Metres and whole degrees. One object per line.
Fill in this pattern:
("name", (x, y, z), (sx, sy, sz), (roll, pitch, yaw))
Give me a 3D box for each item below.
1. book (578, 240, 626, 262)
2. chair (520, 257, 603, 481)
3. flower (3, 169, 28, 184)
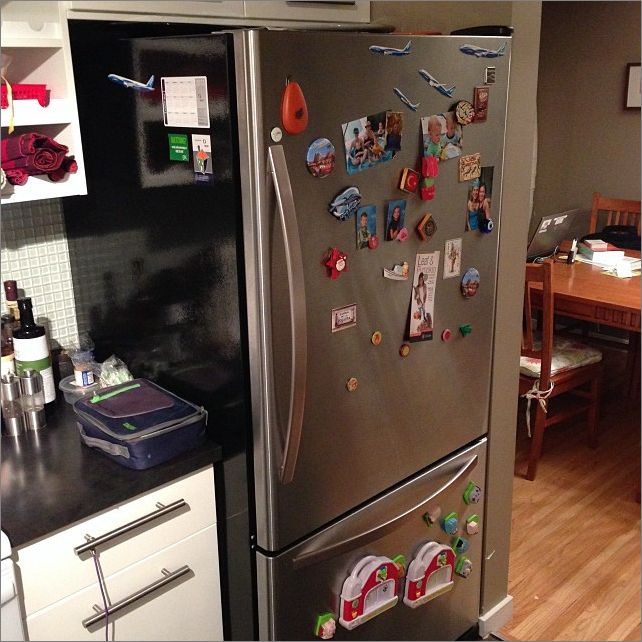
("book", (1.868, -0.449, 3.626), (0.179, 0.050, 0.198), (8, 22, 13))
("chair", (1.364, 0.181, 3.173), (0.491, 1.266, 1.017), (6, 19, 28))
("flower", (-0.666, -0.315, 1.203), (0.042, 0.032, 0.018), (-14, 20, -32))
